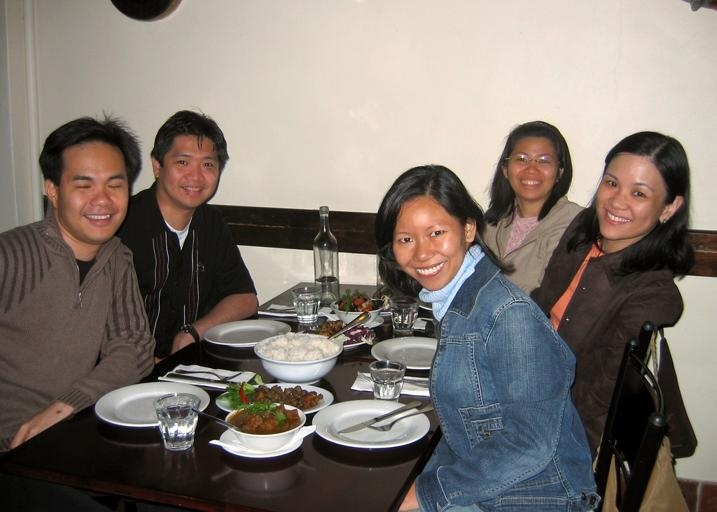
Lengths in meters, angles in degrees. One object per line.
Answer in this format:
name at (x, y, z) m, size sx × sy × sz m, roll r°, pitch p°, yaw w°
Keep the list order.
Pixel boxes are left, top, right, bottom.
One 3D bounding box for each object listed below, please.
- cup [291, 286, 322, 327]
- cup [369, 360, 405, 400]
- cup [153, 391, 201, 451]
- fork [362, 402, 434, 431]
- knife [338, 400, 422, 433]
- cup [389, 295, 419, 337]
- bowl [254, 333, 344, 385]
cup at (-0.235, 0.235, 2.532) m, size 0.166 × 0.185 × 0.163 m, roll -3°, pitch 8°, yaw 0°
cup at (0.105, 0.462, 1.877) m, size 0.120 × 0.096 × 0.114 m, roll 2°, pitch -14°, yaw 0°
cup at (-0.528, 0.487, 1.617) m, size 0.142 × 0.145 × 0.144 m, roll -1°, pitch 2°, yaw 0°
fork at (0.123, 0.522, 1.713) m, size 0.203 × 0.028 × 0.030 m, roll -14°, pitch 42°, yaw -36°
knife at (0.069, 0.523, 1.709) m, size 0.225 × 0.010 × 0.032 m, roll -13°, pitch 31°, yaw -36°
cup at (0.204, 0.270, 2.458) m, size 0.154 × 0.167 × 0.150 m, roll 1°, pitch 10°, yaw 0°
bowl at (-0.205, 0.341, 1.923) m, size 0.211 × 0.092 × 0.206 m, roll 0°, pitch 4°, yaw 0°
